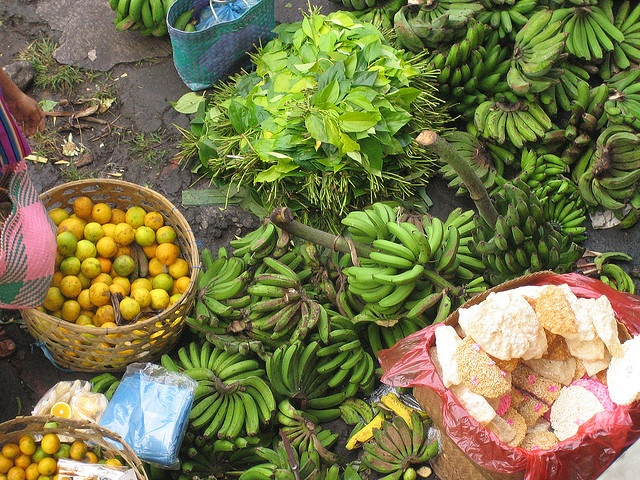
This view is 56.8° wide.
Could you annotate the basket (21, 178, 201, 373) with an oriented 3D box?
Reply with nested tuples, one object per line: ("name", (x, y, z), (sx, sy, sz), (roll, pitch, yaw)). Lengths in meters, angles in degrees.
("basket", (-1.249, 0.450, 4.041), (1.188, 0.622, 1.246), (-26, 72, -21))
